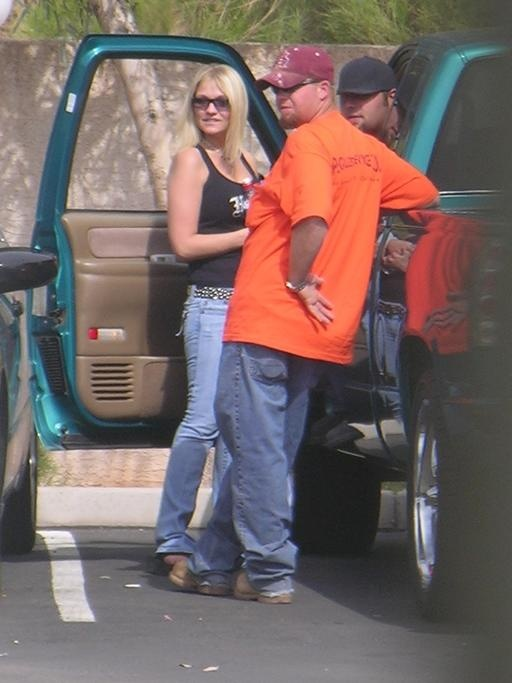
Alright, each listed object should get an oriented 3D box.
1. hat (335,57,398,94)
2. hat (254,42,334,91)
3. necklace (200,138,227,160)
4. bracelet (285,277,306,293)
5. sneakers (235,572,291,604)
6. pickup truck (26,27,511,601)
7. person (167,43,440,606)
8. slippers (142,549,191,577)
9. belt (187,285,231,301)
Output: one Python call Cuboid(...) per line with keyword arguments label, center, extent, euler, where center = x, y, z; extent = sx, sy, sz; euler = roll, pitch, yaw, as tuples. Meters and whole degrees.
Cuboid(label="hat", center=(0.407, -0.959, 4.129), extent=(0.145, 0.099, 0.196), euler=(8, 12, 41))
Cuboid(label="hat", center=(0.129, -0.826, 3.465), extent=(0.234, 0.104, 0.142), euler=(2, 5, -22))
Cuboid(label="necklace", center=(-0.159, -0.693, 4.054), extent=(0.072, 0.035, 0.095), euler=(2, 35, -39))
Cuboid(label="bracelet", center=(0.114, -0.158, 3.330), extent=(0.069, 0.045, 0.034), euler=(6, 17, 22))
Cuboid(label="sneakers", center=(0.013, 0.838, 3.764), extent=(0.076, 0.083, 0.193), euler=(-5, 13, -41))
Cuboid(label="pickup truck", center=(0.060, -0.226, 3.982), extent=(1.508, 1.218, 2.294), euler=(1, 1, -18))
Cuboid(label="person", center=(0.178, 0.004, 3.534), extent=(0.596, 1.798, 0.437), euler=(-5, 18, -16))
Cuboid(label="slippers", center=(-0.373, 0.849, 4.403), extent=(0.145, 0.060, 0.187), euler=(-4, 1, 2))
Cuboid(label="belt", center=(-0.171, -0.170, 3.993), extent=(0.115, 0.054, 0.019), euler=(3, -6, 5))
